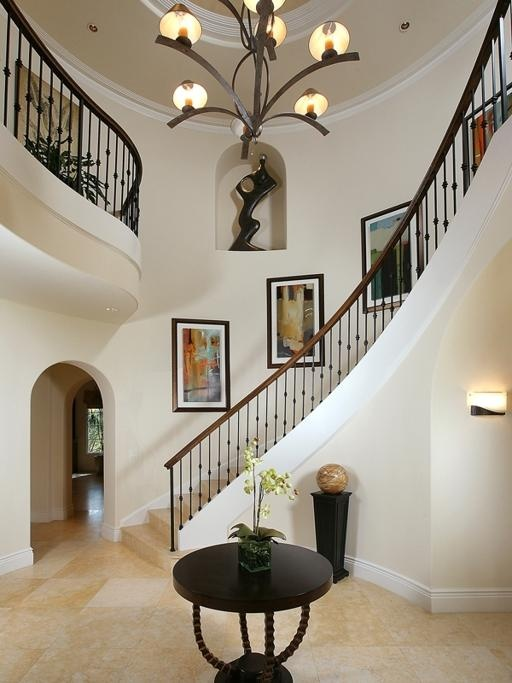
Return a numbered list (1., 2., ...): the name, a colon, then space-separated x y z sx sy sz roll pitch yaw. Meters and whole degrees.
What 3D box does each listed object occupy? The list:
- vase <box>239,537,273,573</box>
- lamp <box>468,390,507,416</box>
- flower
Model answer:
1. vase: -0.002 1.305 3.361 0.169 0.206 0.181 1 -2 -27
2. lamp: 1.857 0.492 4.269 0.267 0.179 0.134 2 -10 11
3. flower: 0.037 0.995 3.509 0.358 0.741 0.331 -1 -6 0
